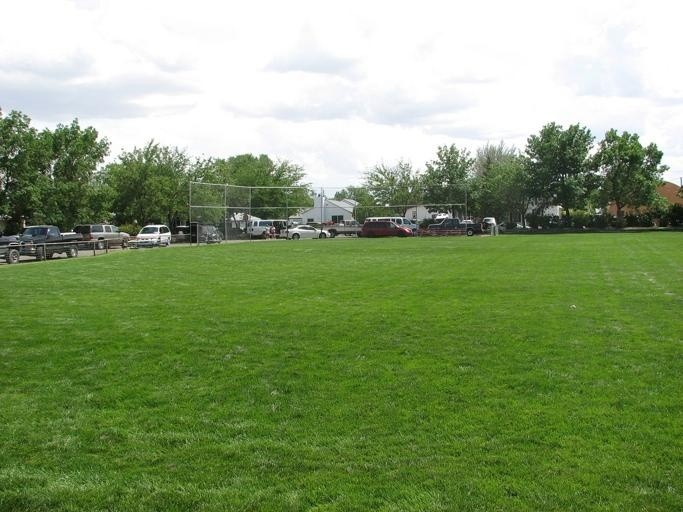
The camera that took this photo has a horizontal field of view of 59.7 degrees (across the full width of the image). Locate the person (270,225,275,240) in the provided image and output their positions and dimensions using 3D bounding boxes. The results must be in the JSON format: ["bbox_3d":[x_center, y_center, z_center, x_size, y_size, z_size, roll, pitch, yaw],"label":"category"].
[{"bbox_3d":[-5.855,-1.991,49.565,0.297,1.139,0.738,5,8,-2],"label":"person"}]

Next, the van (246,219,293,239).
[{"bbox_3d":[-6.279,-2.341,49.787,2.548,1.418,1.703,-3,5,-12],"label":"van"}]

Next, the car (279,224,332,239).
[{"bbox_3d":[-2.851,-1.955,50.201,3.190,1.107,1.496,-3,4,-19],"label":"car"}]

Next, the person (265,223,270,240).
[{"bbox_3d":[-6.076,-2.049,49.315,0.401,1.089,0.740,1,13,10],"label":"person"}]
